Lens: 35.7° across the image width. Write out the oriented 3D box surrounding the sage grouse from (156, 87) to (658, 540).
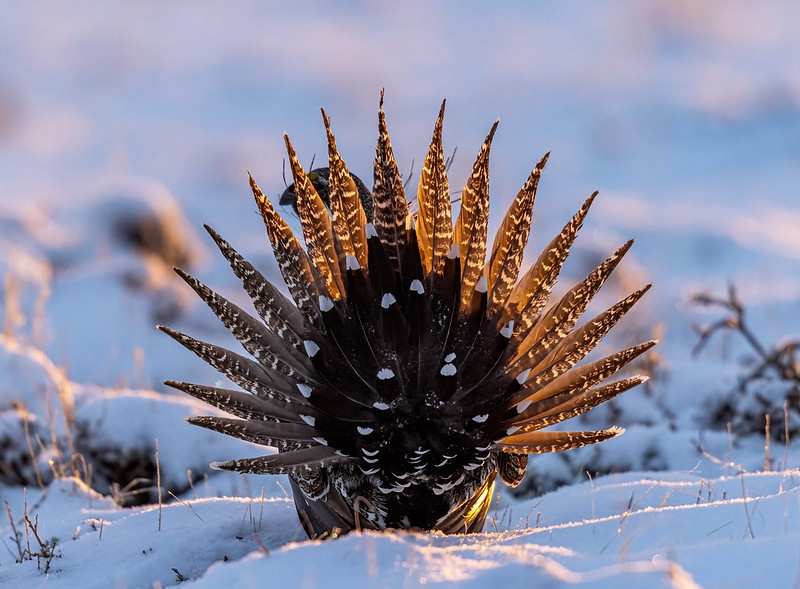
[{"bbox_3d":[0.021,0.676,12.467,4.423,4.873,3.807,-2,-18,-1],"label":"sage grouse"}]
